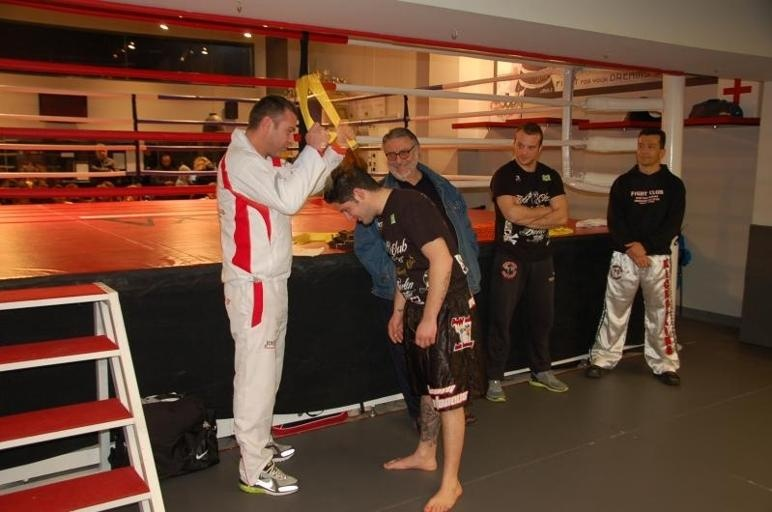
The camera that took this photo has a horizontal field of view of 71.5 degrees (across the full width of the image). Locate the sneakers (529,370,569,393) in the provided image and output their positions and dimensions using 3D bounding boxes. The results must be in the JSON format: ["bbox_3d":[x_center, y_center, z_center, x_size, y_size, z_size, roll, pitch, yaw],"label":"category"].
[{"bbox_3d":[1.374,1.064,4.568,0.303,0.118,0.152,4,8,41],"label":"sneakers"}]

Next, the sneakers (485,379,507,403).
[{"bbox_3d":[0.889,1.103,4.349,0.103,0.108,0.267,0,-11,1],"label":"sneakers"}]

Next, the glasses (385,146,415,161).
[{"bbox_3d":[0.099,-0.683,3.600,0.194,0.082,0.065,-3,12,1],"label":"glasses"}]

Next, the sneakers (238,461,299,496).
[{"bbox_3d":[-0.730,1.406,3.413,0.389,0.176,0.160,0,0,-3],"label":"sneakers"}]

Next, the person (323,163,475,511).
[{"bbox_3d":[0.152,0.501,3.131,0.727,2.035,0.390,-2,13,7],"label":"person"}]

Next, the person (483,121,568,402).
[{"bbox_3d":[1.111,0.051,4.368,0.773,2.187,0.564,-5,13,-5],"label":"person"}]

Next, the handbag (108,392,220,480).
[{"bbox_3d":[-1.459,1.136,3.654,0.651,0.538,0.477,-9,8,-29],"label":"handbag"}]

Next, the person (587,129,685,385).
[{"bbox_3d":[2.189,-0.006,4.659,0.728,2.146,0.645,2,14,23],"label":"person"}]

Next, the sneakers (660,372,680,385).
[{"bbox_3d":[2.417,1.046,4.606,0.165,0.084,0.121,4,14,28],"label":"sneakers"}]

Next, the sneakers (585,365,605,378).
[{"bbox_3d":[1.838,1.022,4.739,0.094,0.061,0.149,-10,-20,3],"label":"sneakers"}]
